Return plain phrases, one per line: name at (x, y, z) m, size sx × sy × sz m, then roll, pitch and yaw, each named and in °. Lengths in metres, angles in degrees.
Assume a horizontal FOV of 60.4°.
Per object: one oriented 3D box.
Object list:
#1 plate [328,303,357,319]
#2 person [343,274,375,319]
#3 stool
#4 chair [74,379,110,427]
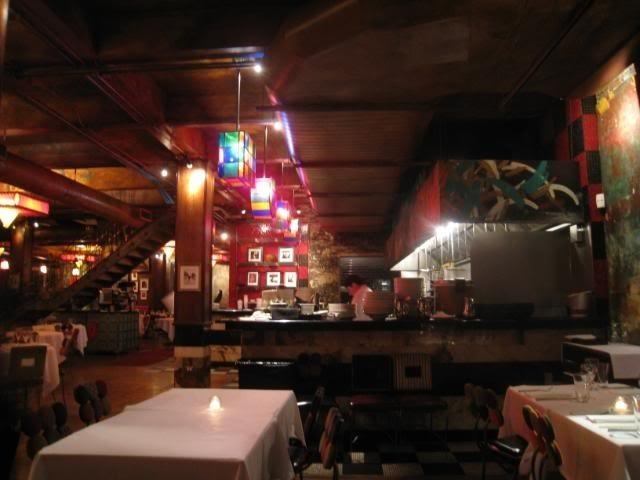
plate at (0.250, 0.914, 6.989) m, size 0.189 × 0.193 × 0.514 m, roll 5°, pitch -9°, yaw -30°
person at (0.616, 0.885, 8.755) m, size 0.265 × 0.359 × 0.822 m, roll -22°, pitch 13°, yaw 6°
stool at (1.133, 2.056, 6.205) m, size 0.641 × 0.591 × 0.706 m, roll -1°, pitch -8°, yaw 11°
chair at (-2.153, 1.518, 5.189) m, size 0.259 × 0.565 × 0.201 m, roll 12°, pitch 13°, yaw 32°
